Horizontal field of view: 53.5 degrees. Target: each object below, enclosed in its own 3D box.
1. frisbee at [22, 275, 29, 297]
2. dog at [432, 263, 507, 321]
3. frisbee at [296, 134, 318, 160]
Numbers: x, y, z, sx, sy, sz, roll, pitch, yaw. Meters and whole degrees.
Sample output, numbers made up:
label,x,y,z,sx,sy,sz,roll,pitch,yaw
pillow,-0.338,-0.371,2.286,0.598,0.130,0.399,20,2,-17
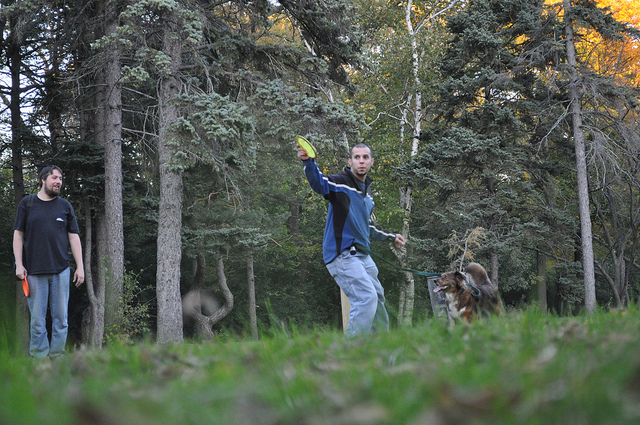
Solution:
label,x,y,z,sx,sy,sz,roll,pitch,yaw
frisbee,-5.735,1.456,12.448,0.102,0.439,0.241,-10,15,-28
dog,3.291,1.826,13.737,2.175,1.293,0.922,7,-10,-36
frisbee,-0.243,-1.229,12.077,0.312,0.468,0.461,-4,13,-3
